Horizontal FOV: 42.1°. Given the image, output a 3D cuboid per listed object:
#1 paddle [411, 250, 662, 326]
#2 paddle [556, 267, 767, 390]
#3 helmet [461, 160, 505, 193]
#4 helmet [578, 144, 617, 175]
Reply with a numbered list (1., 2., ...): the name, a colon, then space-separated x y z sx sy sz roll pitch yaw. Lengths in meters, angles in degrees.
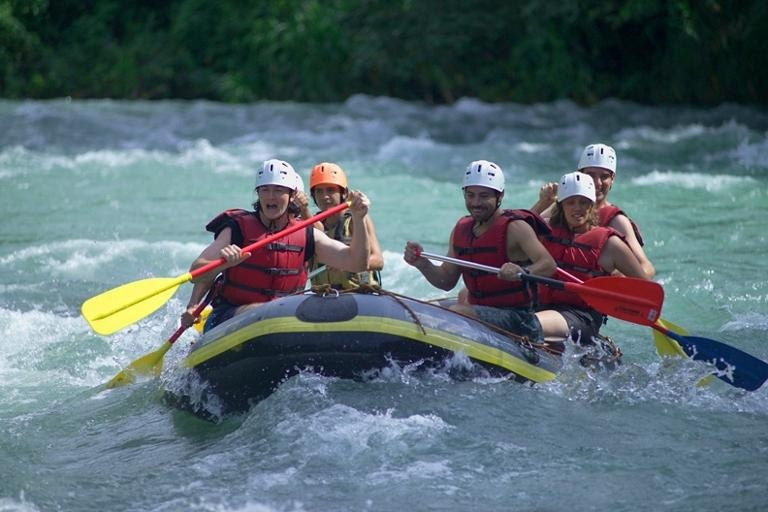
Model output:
1. paddle: 1.668 0.250 11.187 2.926 0.556 0.210 3 12 1
2. paddle: 3.245 0.923 11.857 2.506 0.492 0.134 25 36 0
3. helmet: 1.143 -0.905 11.313 0.326 0.411 0.337 2 9 12
4. helmet: 2.648 -1.203 12.389 0.352 0.368 0.471 11 19 -5
